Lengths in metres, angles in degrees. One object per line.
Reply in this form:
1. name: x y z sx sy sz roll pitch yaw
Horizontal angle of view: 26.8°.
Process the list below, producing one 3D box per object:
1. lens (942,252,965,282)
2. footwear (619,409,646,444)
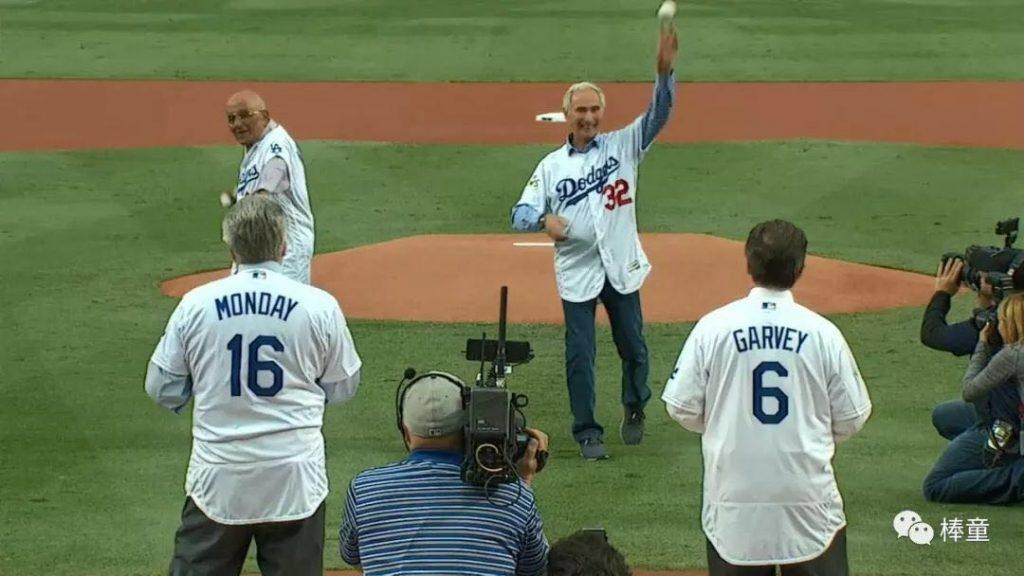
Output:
1. lens: 3.343 -0.176 16.456 0.149 0.211 0.211 -4 10 -19
2. footwear: 0.961 1.069 16.740 0.130 0.294 0.128 1 2 0
